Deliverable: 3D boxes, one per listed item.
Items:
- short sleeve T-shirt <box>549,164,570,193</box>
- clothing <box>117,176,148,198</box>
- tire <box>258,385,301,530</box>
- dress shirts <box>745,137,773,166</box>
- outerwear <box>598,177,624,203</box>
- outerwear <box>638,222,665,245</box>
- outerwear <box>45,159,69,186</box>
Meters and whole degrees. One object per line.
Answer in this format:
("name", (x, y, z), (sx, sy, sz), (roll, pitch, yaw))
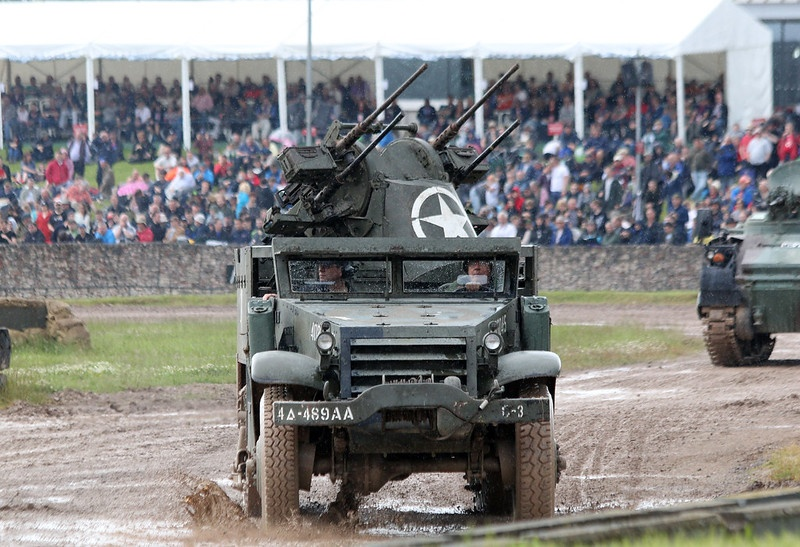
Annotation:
("short sleeve T-shirt", (4.728, -2.862, 62.667), (0.600, 0.836, 0.436), (2, -21, 9))
("clothing", (-7.953, -2.633, 62.940), (0.575, 0.211, 0.615), (-22, 11, 6))
("tire", (-2.511, 3.843, 43.679), (0.827, 2.683, 0.864), (-1, 7, -4))
("dress shirts", (10.528, -3.612, 61.821), (0.613, 0.804, 0.411), (4, -18, 15))
("outerwear", (6.256, -2.468, 62.196), (0.642, 0.767, 0.615), (1, 8, 6))
("outerwear", (7.320, -1.124, 61.567), (0.865, 0.977, 0.521), (4, -18, 8))
("outerwear", (-10.384, -3.104, 63.991), (0.583, 0.671, 0.350), (8, -35, -38))
